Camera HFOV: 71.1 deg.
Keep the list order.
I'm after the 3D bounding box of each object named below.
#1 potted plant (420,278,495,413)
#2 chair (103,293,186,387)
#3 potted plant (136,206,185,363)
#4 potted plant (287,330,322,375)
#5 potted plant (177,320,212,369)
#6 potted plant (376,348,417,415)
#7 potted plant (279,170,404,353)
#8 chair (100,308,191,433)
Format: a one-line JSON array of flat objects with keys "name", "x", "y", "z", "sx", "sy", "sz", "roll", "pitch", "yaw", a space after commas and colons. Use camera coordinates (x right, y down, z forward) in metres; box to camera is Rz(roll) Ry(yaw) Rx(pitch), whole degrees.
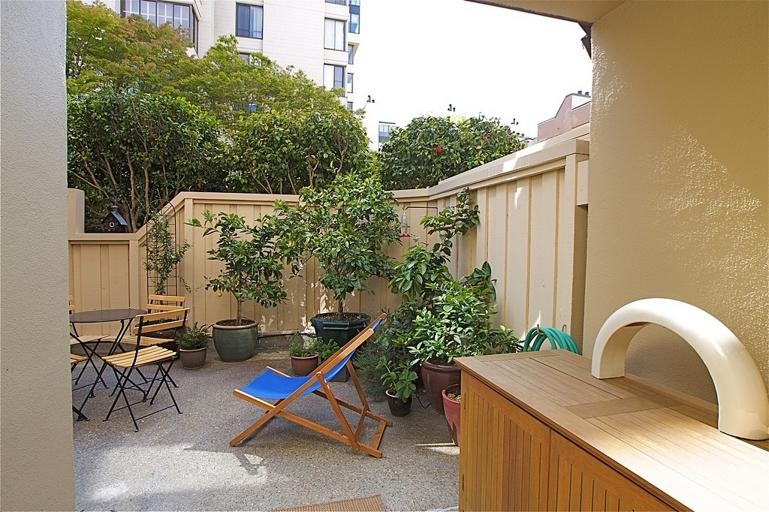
[{"name": "potted plant", "x": 0.622, "y": 0.810, "z": 4.809, "sx": 0.603, "sy": 1.121, "sz": 0.607, "roll": 2, "pitch": 9, "yaw": 4}, {"name": "chair", "x": -2.660, "y": 0.972, "z": 6.031, "sx": 0.899, "sy": 1.275, "sz": 0.887, "roll": 3, "pitch": 3, "yaw": 24}, {"name": "potted plant", "x": -2.687, "y": 0.391, "z": 6.513, "sx": 0.465, "sy": 1.931, "sz": 0.436, "roll": 14, "pitch": 13, "yaw": 26}, {"name": "potted plant", "x": -0.897, "y": 1.125, "z": 6.193, "sx": 0.449, "sy": 0.573, "sz": 0.456, "roll": 1, "pitch": -6, "yaw": -3}, {"name": "potted plant", "x": -2.293, "y": 1.107, "z": 6.608, "sx": 0.428, "sy": 0.557, "sz": 0.494, "roll": -1, "pitch": -4, "yaw": 21}, {"name": "potted plant", "x": 0.116, "y": 1.190, "z": 5.043, "sx": 0.293, "sy": 0.532, "sz": 0.393, "roll": -6, "pitch": 16, "yaw": -22}, {"name": "potted plant", "x": -0.561, "y": 0.111, "z": 6.738, "sx": 1.262, "sy": 2.113, "sz": 1.379, "roll": 2, "pitch": 1, "yaw": -10}, {"name": "chair", "x": -2.452, "y": 1.209, "z": 5.601, "sx": 0.869, "sy": 1.297, "sz": 0.935, "roll": 3, "pitch": 3, "yaw": 23}]
